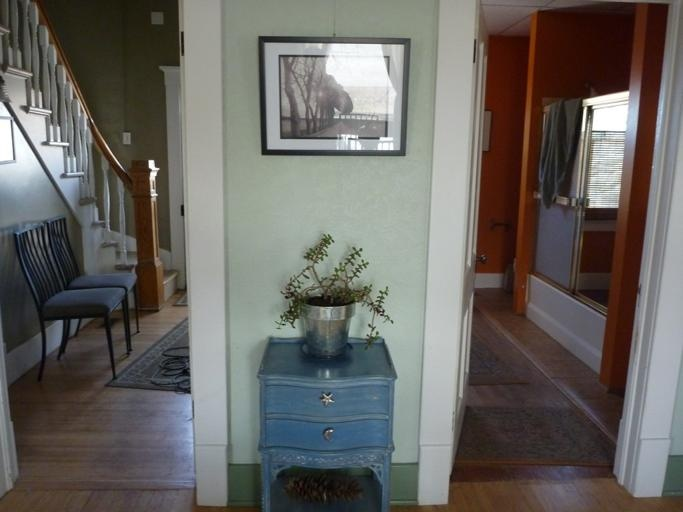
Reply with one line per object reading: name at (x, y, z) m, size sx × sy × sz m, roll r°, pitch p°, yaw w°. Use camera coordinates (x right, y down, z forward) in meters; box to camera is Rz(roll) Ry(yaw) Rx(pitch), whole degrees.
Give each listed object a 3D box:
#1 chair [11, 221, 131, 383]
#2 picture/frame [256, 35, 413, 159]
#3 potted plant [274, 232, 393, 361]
chair at (-2.045, 0.308, 4.405) m, size 0.585 × 1.129 × 0.522 m, roll -1°, pitch 13°, yaw -6°
picture/frame at (-0.050, -0.831, 2.896) m, size 0.520 × 0.468 × 0.021 m, roll 0°, pitch 10°, yaw -1°
potted plant at (-0.074, 0.199, 2.914) m, size 0.611 × 0.582 × 0.388 m, roll -6°, pitch 6°, yaw -34°
